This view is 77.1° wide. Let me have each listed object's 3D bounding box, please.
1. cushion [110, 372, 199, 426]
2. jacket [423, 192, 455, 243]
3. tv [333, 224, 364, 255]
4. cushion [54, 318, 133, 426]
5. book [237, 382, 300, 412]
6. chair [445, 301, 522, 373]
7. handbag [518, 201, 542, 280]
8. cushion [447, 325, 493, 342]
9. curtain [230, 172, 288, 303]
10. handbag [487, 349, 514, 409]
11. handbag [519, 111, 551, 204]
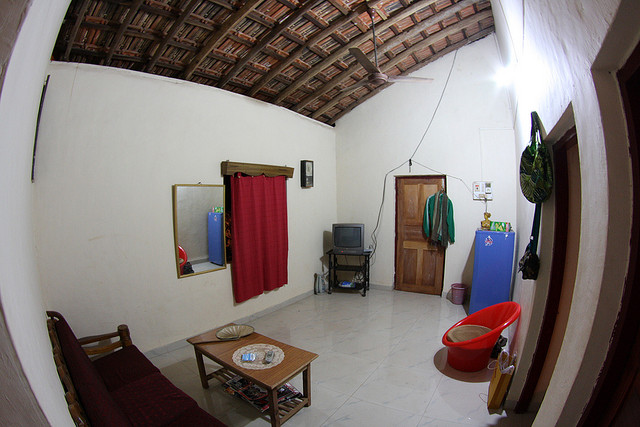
[{"bbox_3d":[-1.367,1.533,3.265,0.323,0.112,0.437,0,10,-41],"label":"cushion"},{"bbox_3d":[1.877,0.059,6.301,0.485,0.767,0.162,3,11,18],"label":"jacket"},{"bbox_3d":[0.499,0.425,6.791,0.671,0.680,0.415,-2,-3,17],"label":"tv"},{"bbox_3d":[-1.758,1.239,3.121,0.262,0.324,0.745,-5,36,-47],"label":"cushion"},{"bbox_3d":[-0.536,1.718,3.788,0.388,0.097,0.407,3,10,30],"label":"book"},{"bbox_3d":[1.661,1.293,4.300,0.741,0.696,0.765,-2,4,8],"label":"chair"},{"bbox_3d":[1.890,0.232,3.552,0.144,0.719,0.143,13,-10,-3],"label":"handbag"},{"bbox_3d":[1.573,1.273,4.285,0.230,0.058,0.240,-6,2,-6],"label":"cushion"},{"bbox_3d":[-0.834,0.256,5.547,0.262,1.676,1.109,6,13,33],"label":"curtain"},{"bbox_3d":[1.700,1.570,3.761,0.131,0.428,0.422,8,1,22],"label":"handbag"},{"bbox_3d":[1.830,-0.459,3.404,0.242,0.787,0.232,1,6,38],"label":"handbag"}]
